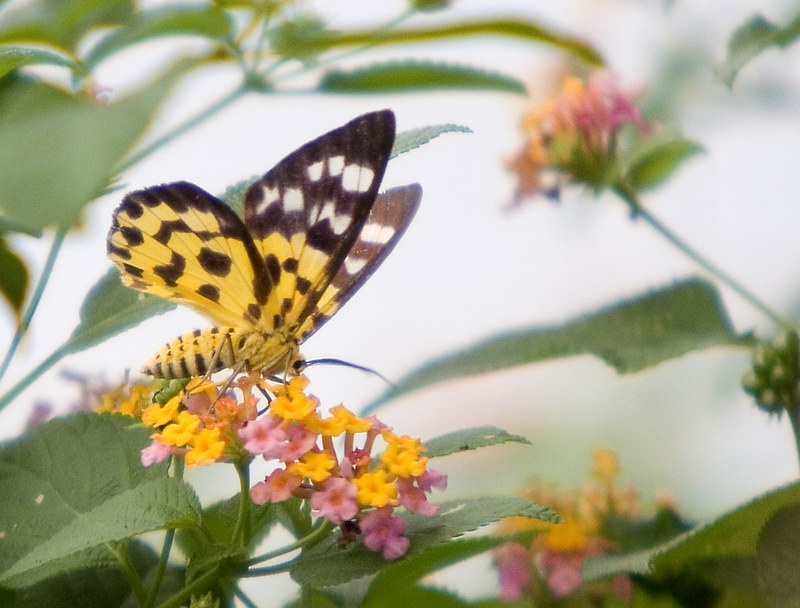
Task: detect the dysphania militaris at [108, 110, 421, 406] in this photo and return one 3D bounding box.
[{"bbox_3d":[-0.318,-0.016,2.494,0.526,0.519,0.442,-1,67,-10],"label":"dysphania militaris"}]
